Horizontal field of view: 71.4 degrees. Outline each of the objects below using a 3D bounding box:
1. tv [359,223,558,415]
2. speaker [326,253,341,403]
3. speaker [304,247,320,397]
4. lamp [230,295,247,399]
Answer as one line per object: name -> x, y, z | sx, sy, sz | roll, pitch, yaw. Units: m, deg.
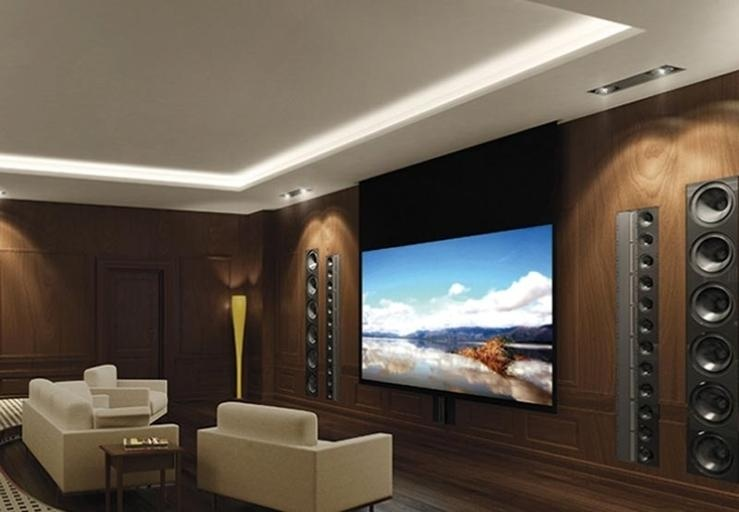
tv -> 0.977, 0.723, 6.345 | 0.076, 1.960, 2.814 | 2, -4, -41
speaker -> -0.586, 1.134, 8.284 | 0.353, 2.288, 0.112 | -3, -4, 43
speaker -> -0.963, 1.115, 8.736 | 0.140, 2.486, 0.471 | 2, -3, -32
lamp -> -2.550, 1.748, 10.022 | 0.323, 1.996, 0.382 | 1, -3, -15
